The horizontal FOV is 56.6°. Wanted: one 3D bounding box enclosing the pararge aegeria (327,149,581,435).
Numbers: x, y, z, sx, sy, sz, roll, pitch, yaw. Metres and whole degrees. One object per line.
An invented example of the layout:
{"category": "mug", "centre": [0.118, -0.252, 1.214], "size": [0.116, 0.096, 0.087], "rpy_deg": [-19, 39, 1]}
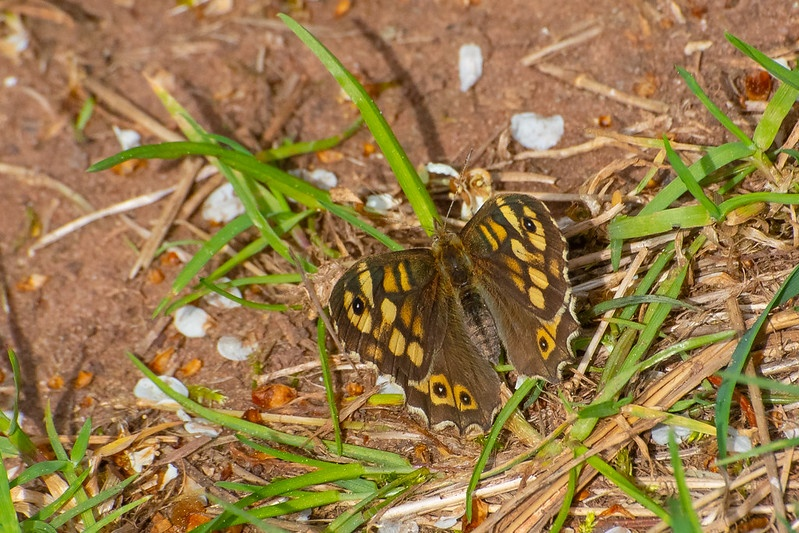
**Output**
{"category": "pararge aegeria", "centre": [0.289, 0.224, 3.195], "size": [1.035, 0.353, 0.857], "rpy_deg": [-29, 77, -1]}
